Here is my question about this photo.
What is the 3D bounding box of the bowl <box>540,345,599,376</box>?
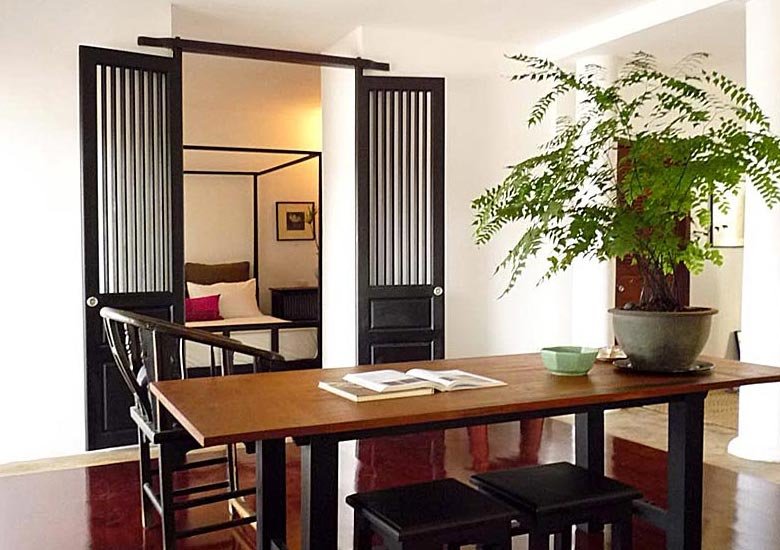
[{"bbox_3d":[0.812,0.384,2.877,0.186,0.074,0.179,-1,1,0],"label":"bowl"}]

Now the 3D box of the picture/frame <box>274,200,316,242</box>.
[{"bbox_3d":[-1.275,-0.739,8.370,0.567,0.534,0.041,-1,10,-10],"label":"picture/frame"}]
